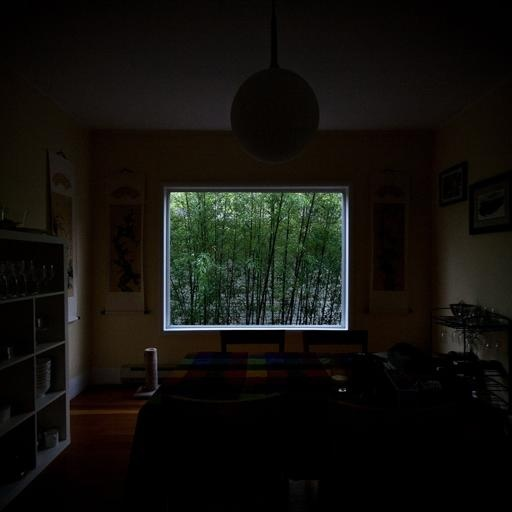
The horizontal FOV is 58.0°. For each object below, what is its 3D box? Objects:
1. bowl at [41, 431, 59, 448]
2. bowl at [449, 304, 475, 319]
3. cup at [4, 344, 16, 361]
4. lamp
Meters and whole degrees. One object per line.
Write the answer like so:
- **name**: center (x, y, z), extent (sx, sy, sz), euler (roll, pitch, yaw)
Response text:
- **bowl**: center (-1.299, 1.158, 2.925), extent (0.073, 0.101, 0.091), euler (0, -7, -4)
- **bowl**: center (1.499, 0.390, 3.330), extent (0.105, 0.076, 0.125), euler (-1, -5, 4)
- **cup**: center (-1.423, 0.559, 2.666), extent (0.056, 0.084, 0.063), euler (-2, -10, -4)
- **lamp**: center (0.064, -0.664, 1.831), extent (0.338, 0.572, 0.211), euler (-13, 8, -24)
